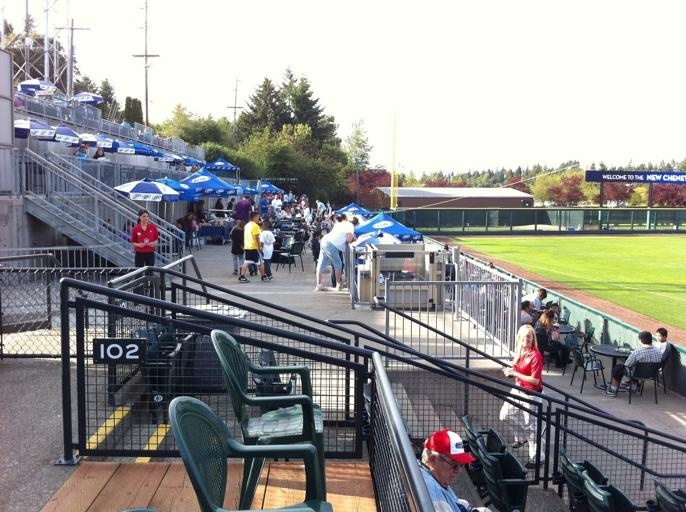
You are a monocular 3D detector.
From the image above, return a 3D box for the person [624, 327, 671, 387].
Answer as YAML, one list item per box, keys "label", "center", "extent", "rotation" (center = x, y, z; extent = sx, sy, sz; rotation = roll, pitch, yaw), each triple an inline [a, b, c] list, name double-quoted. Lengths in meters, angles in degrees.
- label: "person"
  center: [5.873, 2.045, 17.280]
  extent: [0.679, 1.094, 1.124]
  rotation: [5, 7, 34]

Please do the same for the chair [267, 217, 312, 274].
- label: "chair"
  center: [-1.708, -0.260, 27.644]
  extent: [1.069, 1.159, 2.095]
  rotation: [-1, 11, -4]

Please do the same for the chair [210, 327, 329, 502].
- label: "chair"
  center: [-0.912, 1.865, 10.018]
  extent: [1.456, 2.535, 1.595]
  rotation: [-1, 6, -1]

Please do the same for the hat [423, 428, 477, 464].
- label: "hat"
  center: [1.212, 2.141, 9.965]
  extent: [0.597, 0.315, 0.397]
  rotation: [8, -8, 36]

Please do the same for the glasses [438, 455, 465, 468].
- label: "glasses"
  center: [1.198, 2.305, 9.854]
  extent: [0.270, 0.155, 0.090]
  rotation: [1, 6, -1]
